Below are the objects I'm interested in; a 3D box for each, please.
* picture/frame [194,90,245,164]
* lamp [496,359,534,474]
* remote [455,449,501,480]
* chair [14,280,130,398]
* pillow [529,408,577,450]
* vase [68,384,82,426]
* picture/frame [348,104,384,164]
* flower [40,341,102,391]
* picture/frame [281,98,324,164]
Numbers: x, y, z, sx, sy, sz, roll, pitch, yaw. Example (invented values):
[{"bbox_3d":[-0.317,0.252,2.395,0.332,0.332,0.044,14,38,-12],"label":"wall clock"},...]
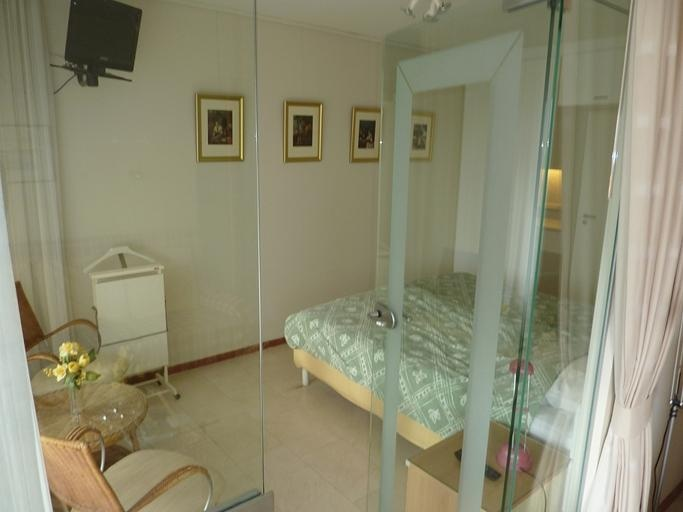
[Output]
[{"bbox_3d":[-0.467,-0.493,1.937,0.234,0.286,0.018,-10,16,-42],"label":"picture/frame"},{"bbox_3d":[0.589,0.543,1.714,0.121,0.463,0.141,1,14,12],"label":"lamp"},{"bbox_3d":[0.488,0.753,1.881,0.192,0.060,0.032,11,19,42],"label":"remote"},{"bbox_3d":[-0.926,0.349,1.803,0.328,0.533,0.282,-8,17,-27],"label":"chair"},{"bbox_3d":[0.768,0.611,1.867,0.068,0.179,0.301,-7,-13,39],"label":"pillow"},{"bbox_3d":[-0.938,0.518,1.811,0.045,0.050,0.199,-4,38,-26],"label":"vase"},{"bbox_3d":[0.216,-1.035,4.410,0.338,0.449,0.030,-9,19,-35],"label":"picture/frame"},{"bbox_3d":[-0.927,0.377,1.817,0.132,0.137,0.148,-4,8,-10],"label":"flower"},{"bbox_3d":[-0.317,-0.994,4.016,0.412,0.588,0.040,-10,18,-35],"label":"picture/frame"}]
